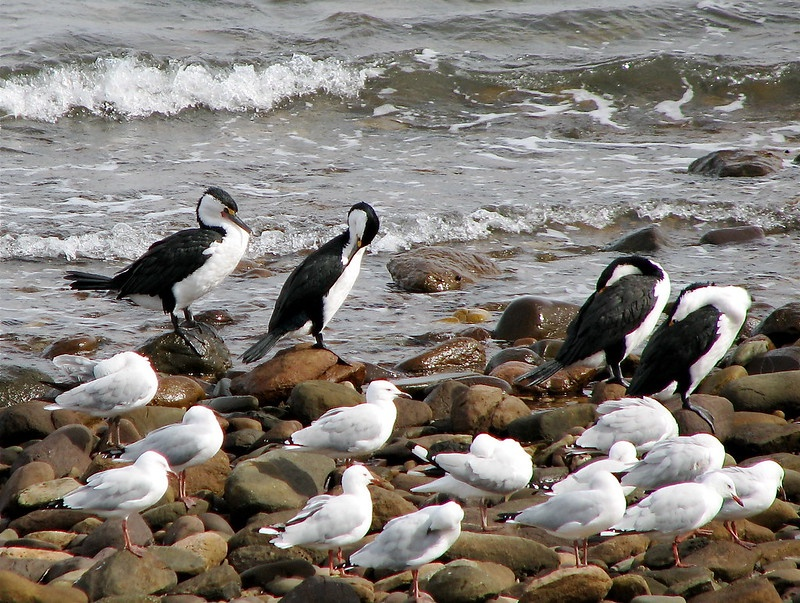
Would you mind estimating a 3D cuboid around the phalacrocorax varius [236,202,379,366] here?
[{"bbox_3d":[-1.234,-0.319,17.006,1.698,2.143,0.733,-12,26,-42],"label":"phalacrocorax varius"}]

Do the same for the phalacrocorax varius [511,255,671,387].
[{"bbox_3d":[2.985,0.160,17.025,2.945,1.661,2.159,3,21,1],"label":"phalacrocorax varius"}]

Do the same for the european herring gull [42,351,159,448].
[{"bbox_3d":[-3.580,1.187,15.303,1.531,1.106,1.141,6,7,-12],"label":"european herring gull"}]

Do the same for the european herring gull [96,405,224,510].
[{"bbox_3d":[-2.657,1.720,14.302,1.483,0.730,0.553,-4,11,8],"label":"european herring gull"}]

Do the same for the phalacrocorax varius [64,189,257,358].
[{"bbox_3d":[-3.310,-0.730,17.604,2.216,1.761,0.879,2,19,-5],"label":"phalacrocorax varius"}]

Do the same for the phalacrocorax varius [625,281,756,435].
[{"bbox_3d":[3.703,0.517,15.649,0.823,1.426,1.140,20,23,38],"label":"phalacrocorax varius"}]
